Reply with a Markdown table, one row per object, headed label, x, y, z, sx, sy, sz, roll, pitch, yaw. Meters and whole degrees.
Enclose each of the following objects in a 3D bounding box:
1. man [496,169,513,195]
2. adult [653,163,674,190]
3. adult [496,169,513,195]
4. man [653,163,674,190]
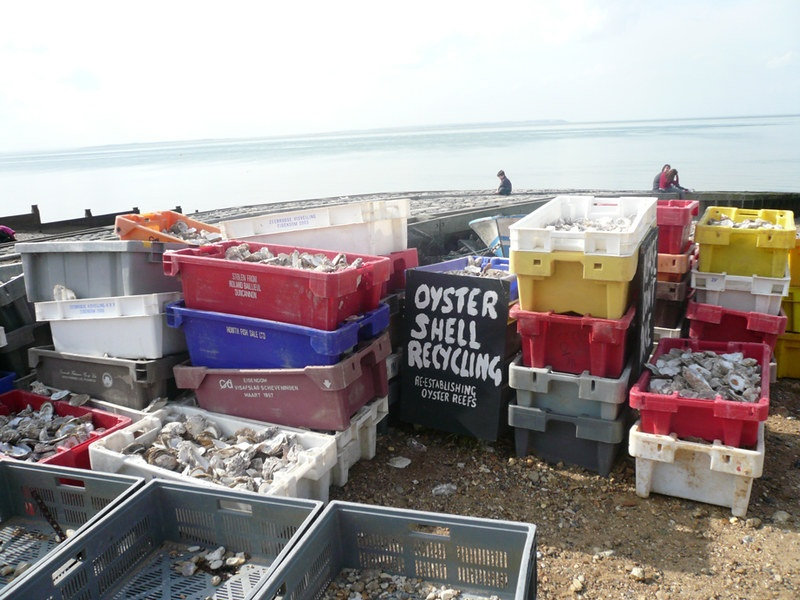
| label | x | y | z | sx | sy | sz | roll | pitch | yaw |
| --- | --- | --- | --- | --- | --- | --- | --- | --- | --- |
| man | 2.943 | -3.385 | 17.243 | 0.380 | 0.733 | 1.556 | -3 | 15 | 10 |
| adult | 6.804 | -3.241 | 15.727 | 0.372 | 0.674 | 1.422 | 1 | 16 | 23 |
| adult | 2.943 | -3.385 | 17.243 | 0.380 | 0.733 | 1.556 | -3 | 15 | 10 |
| man | 6.804 | -3.241 | 15.727 | 0.372 | 0.674 | 1.422 | 1 | 16 | 23 |
